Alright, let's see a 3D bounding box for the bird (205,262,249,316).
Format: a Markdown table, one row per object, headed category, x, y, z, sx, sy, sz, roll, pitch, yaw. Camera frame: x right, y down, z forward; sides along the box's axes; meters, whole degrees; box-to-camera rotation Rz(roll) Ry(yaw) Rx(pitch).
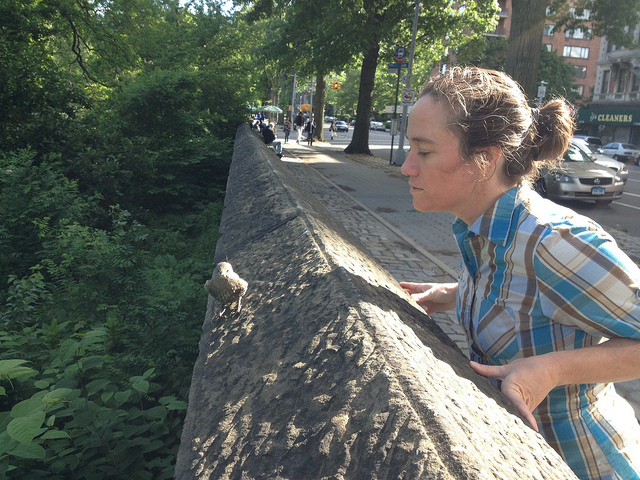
| category | x | y | z | sx | sy | sz | roll | pitch | yaw |
| --- | --- | --- | --- | --- | --- | --- | --- | --- | --- |
| bird | -0.382 | 0.197 | 2.149 | 0.177 | 0.232 | 0.301 | -3 | 7 | -6 |
